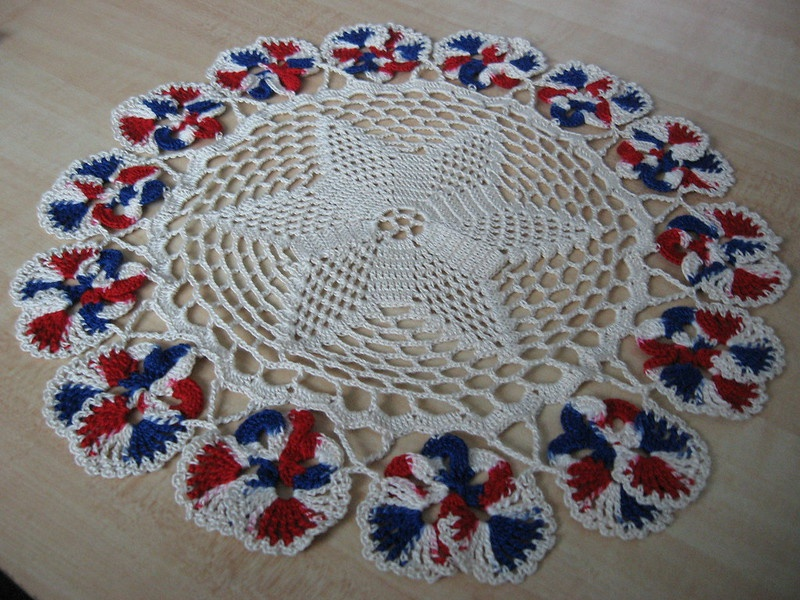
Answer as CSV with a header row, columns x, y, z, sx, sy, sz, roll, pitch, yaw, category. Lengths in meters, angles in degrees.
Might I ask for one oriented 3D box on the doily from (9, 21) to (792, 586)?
x,y,z,sx,sy,sz,roll,pitch,yaw,category
0.002,-0.063,1.362,1.401,0.090,1.197,-15,61,-6,doily
